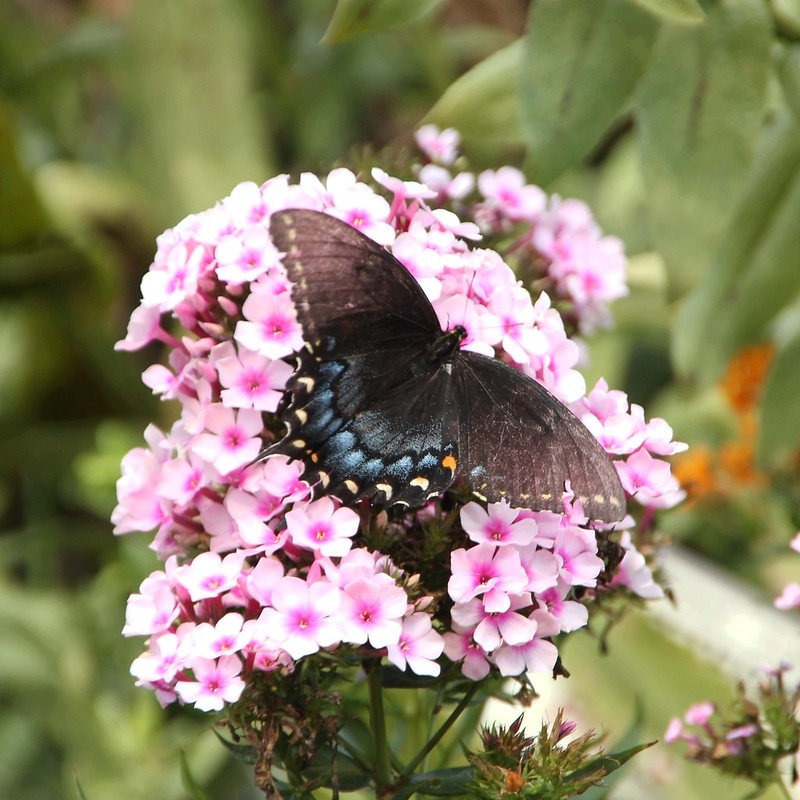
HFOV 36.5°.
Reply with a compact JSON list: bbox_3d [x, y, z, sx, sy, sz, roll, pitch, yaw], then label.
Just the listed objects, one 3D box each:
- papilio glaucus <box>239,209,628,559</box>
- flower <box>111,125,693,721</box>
[{"bbox_3d":[0.043,-0.030,1.075,0.346,0.234,0.169,7,35,9],"label":"papilio glaucus"},{"bbox_3d":[-0.039,0.007,1.136,0.724,0.217,0.586,-1,77,2],"label":"flower"}]
